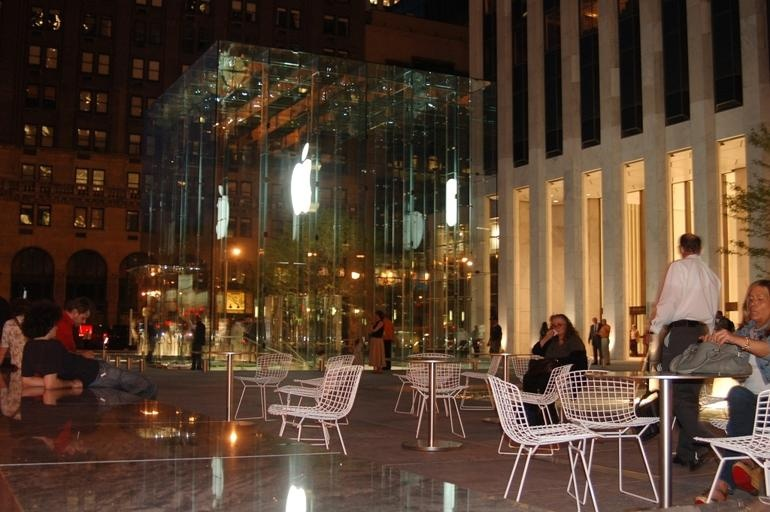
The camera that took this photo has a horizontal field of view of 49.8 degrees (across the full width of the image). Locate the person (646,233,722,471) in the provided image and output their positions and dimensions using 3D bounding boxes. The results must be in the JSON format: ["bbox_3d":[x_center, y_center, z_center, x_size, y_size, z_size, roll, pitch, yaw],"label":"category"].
[{"bbox_3d":[4.862,1.137,13.614,1.075,2.876,1.007,-4,20,-13],"label":"person"}]
